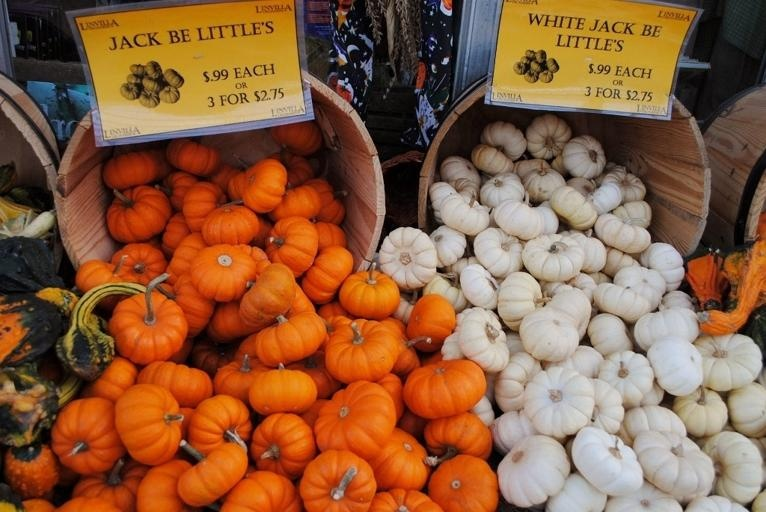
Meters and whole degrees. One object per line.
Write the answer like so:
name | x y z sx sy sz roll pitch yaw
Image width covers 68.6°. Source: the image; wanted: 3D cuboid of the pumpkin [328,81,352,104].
pumpkin | -0.300 -1.169 4.045 0.119 0.145 0.311 -14 45 -13
